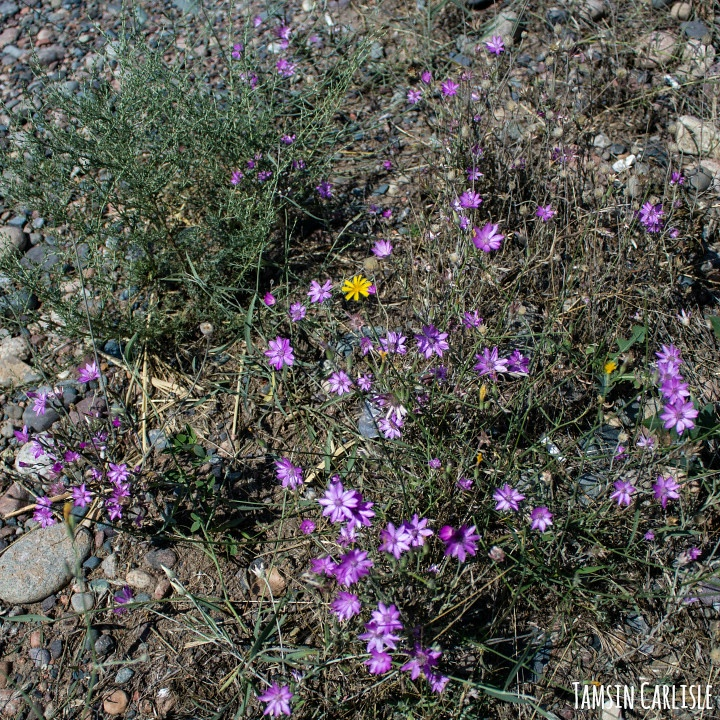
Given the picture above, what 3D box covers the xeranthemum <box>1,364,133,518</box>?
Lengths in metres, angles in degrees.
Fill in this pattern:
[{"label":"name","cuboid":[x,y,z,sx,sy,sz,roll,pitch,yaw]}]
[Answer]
[{"label":"xeranthemum","cuboid":[-0.979,0.312,2.552,0.408,0.236,0.638,-3,70,1]}]
